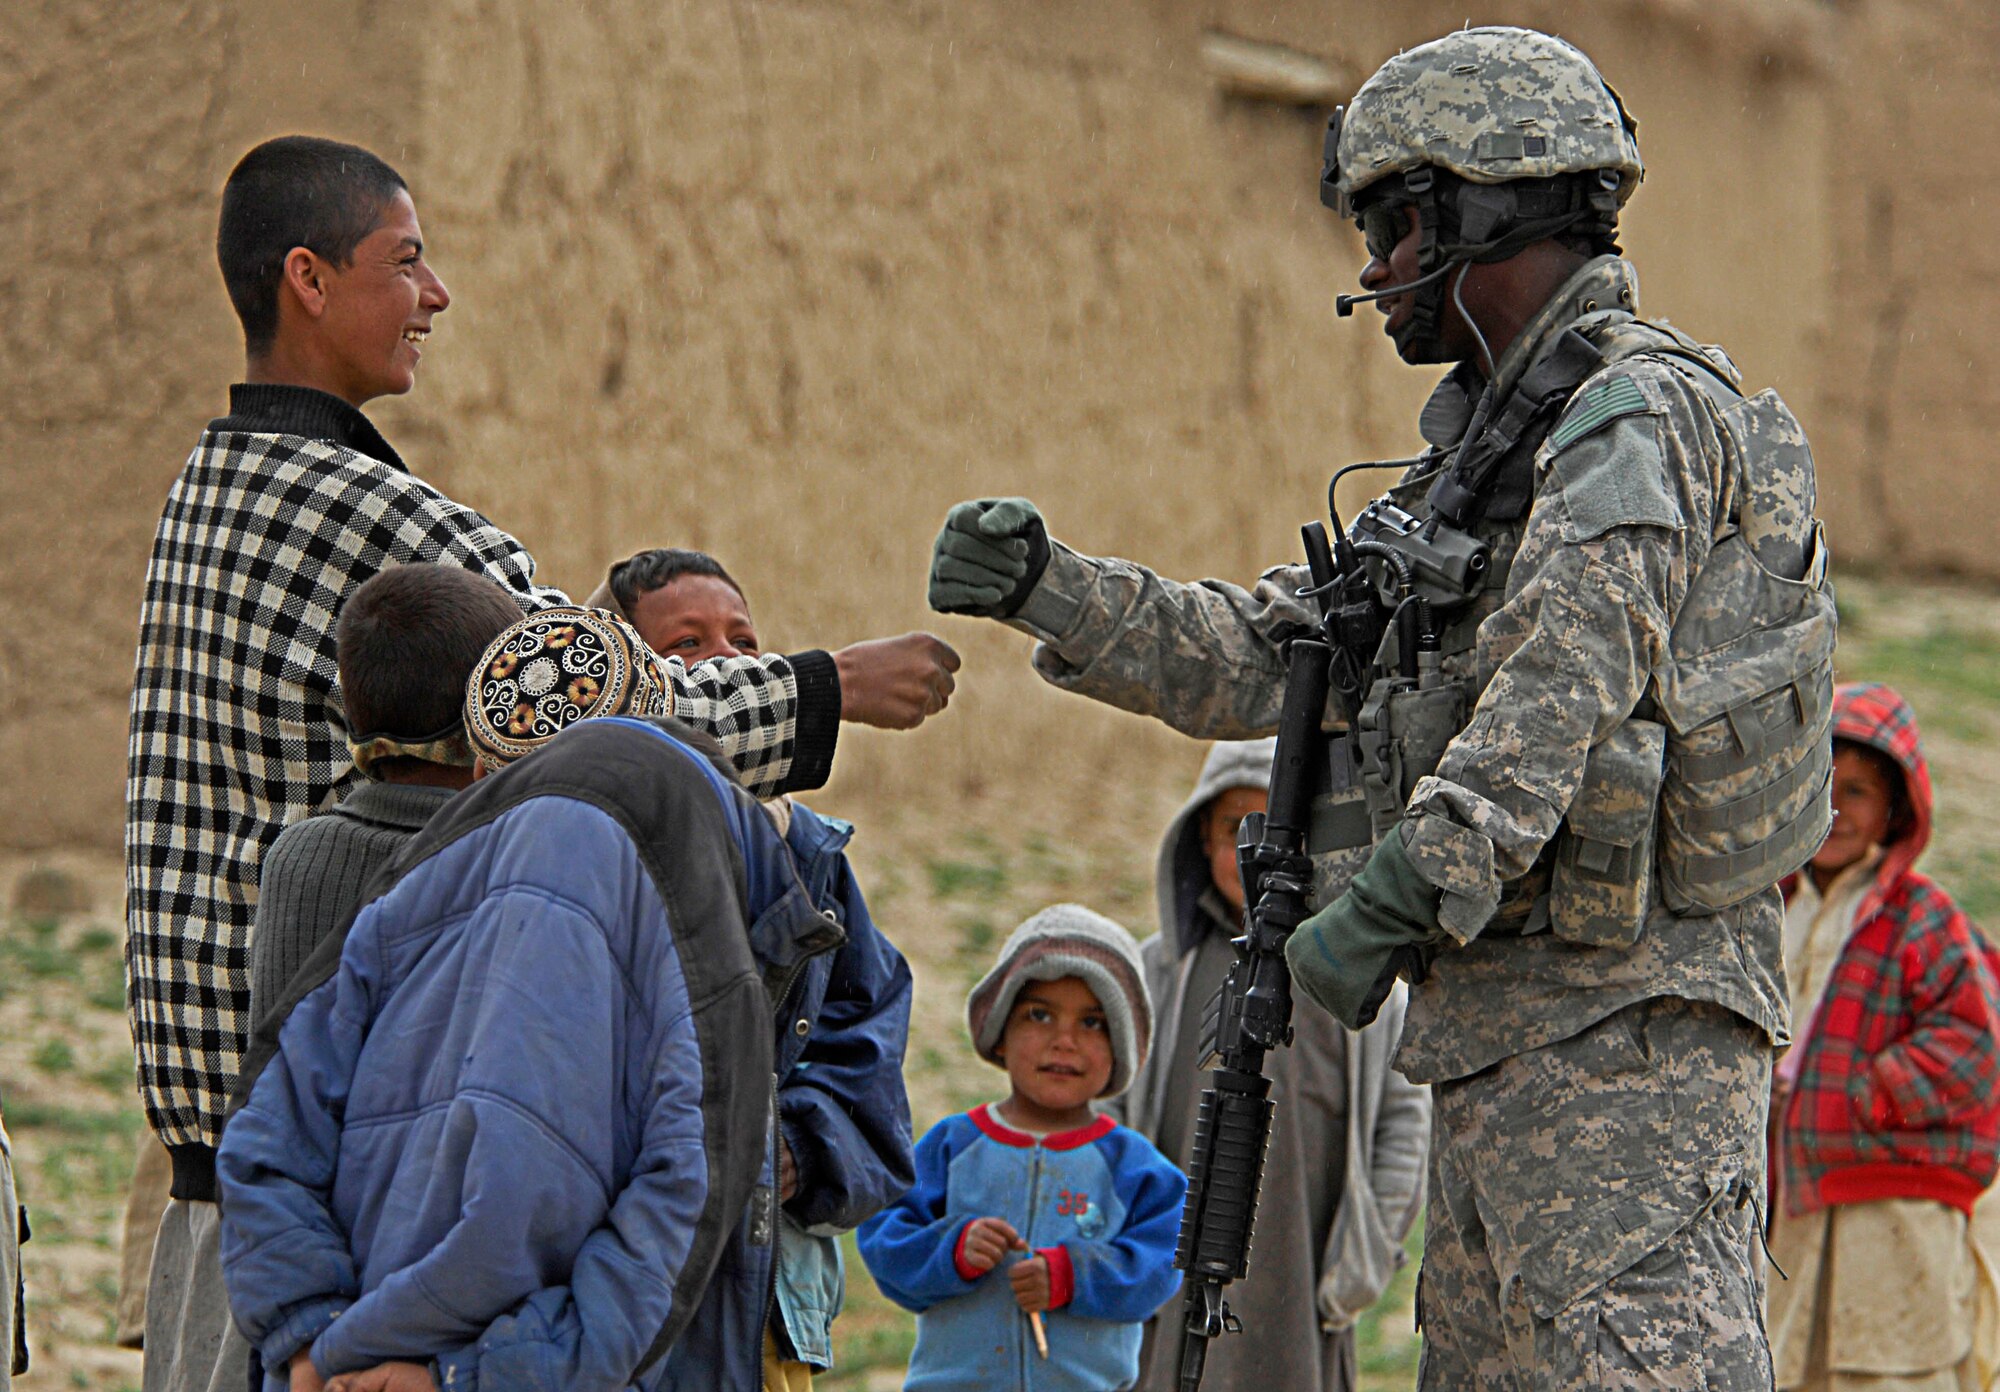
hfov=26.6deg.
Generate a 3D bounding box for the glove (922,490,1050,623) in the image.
[{"bbox_3d":[-0.052,-0.470,14.271,0.314,0.442,0.333,6,14,31],"label":"glove"}]

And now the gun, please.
[{"bbox_3d":[0.840,1.012,13.837,0.628,2.201,0.680,1,14,1],"label":"gun"}]

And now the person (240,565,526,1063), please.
[{"bbox_3d":[-1.946,0.254,13.460,0.669,1.696,0.864,1,15,-1],"label":"person"}]

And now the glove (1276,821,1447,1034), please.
[{"bbox_3d":[1.183,0.755,13.542,0.521,0.612,0.261,41,15,20],"label":"glove"}]

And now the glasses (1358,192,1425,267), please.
[{"bbox_3d":[1.305,-1.555,14.008,0.164,0.222,0.116,6,-3,-30],"label":"glasses"}]

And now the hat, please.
[{"bbox_3d":[0.245,1.108,14.955,0.613,0.565,0.685,13,-28,7],"label":"hat"}]
